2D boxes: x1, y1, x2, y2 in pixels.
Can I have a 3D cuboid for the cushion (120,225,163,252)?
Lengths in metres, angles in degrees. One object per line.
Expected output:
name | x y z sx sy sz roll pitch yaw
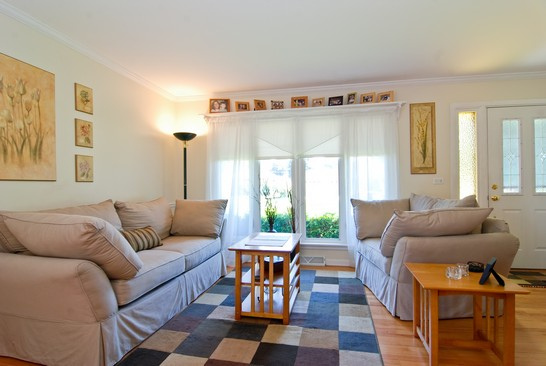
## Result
cushion | -1.614 0.681 4.486 0.105 0.246 0.348 -37 -5 21

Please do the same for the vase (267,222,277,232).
vase | -0.002 0.676 5.542 0.130 0.140 0.133 0 -1 20

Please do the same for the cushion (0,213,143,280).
cushion | -1.942 0.617 3.581 1.161 0.641 0.351 2 12 11

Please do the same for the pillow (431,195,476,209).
pillow | 2.274 0.248 4.506 0.295 0.088 0.294 -16 -4 7

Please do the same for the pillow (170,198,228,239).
pillow | -1.072 0.530 5.266 0.574 0.441 0.216 6 -5 4

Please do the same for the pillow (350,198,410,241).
pillow | 1.418 0.473 4.790 0.664 0.447 0.228 0 -2 -1

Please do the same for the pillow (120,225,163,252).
pillow | -1.597 0.637 4.678 0.598 0.183 0.444 -3 24 35

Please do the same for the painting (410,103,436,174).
painting | 2.351 -0.690 5.685 0.389 1.050 0.253 2 13 8

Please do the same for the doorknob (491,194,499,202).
doorknob | 3.404 0.229 5.570 0.106 0.114 0.034 1 13 4

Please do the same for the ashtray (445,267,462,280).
ashtray | 1.724 0.859 3.475 0.177 0.124 0.099 -5 -12 36

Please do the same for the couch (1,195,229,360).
couch | -1.699 0.830 4.466 1.447 1.397 2.674 5 12 21

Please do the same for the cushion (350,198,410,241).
cushion | 1.595 0.522 5.264 0.957 0.609 0.338 -4 -21 -13

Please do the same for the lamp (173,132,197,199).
lamp | -1.475 -0.292 6.091 0.335 1.116 0.493 -7 14 -29

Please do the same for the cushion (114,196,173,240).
cushion | -1.774 0.558 5.112 0.356 0.682 1.000 11 8 19

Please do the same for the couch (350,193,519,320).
couch | 1.947 0.790 4.897 1.375 1.342 2.230 0 0 0

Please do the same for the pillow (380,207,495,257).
pillow | 1.751 0.563 4.005 1.042 0.661 0.277 1 12 4

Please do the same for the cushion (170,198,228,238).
cushion | -1.078 0.523 5.273 0.579 0.428 0.236 4 -6 1

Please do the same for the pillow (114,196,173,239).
pillow | -1.733 0.475 4.843 0.204 0.395 0.588 -13 -9 33
